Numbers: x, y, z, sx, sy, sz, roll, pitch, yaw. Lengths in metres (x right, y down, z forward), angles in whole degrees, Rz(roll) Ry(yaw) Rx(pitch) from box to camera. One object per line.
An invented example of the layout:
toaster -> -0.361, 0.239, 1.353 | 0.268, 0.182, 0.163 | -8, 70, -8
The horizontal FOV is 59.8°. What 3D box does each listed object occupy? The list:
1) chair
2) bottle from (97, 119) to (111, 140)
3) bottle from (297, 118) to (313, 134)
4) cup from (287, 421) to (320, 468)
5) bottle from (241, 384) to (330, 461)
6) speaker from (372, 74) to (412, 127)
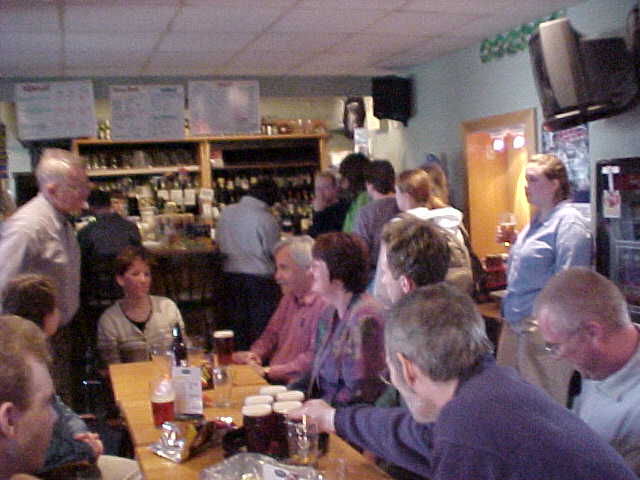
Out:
chair -> -0.884, 0.295, 3.879 | 0.455, 0.319, 0.360 | 2, -7, -29
bottle -> -1.614, -0.820, 4.150 | 0.085, 0.138, 0.288 | -5, 3, -22
bottle -> -0.132, -0.993, 4.885 | 0.124, 0.099, 0.240 | -4, 3, -2
cup -> -0.057, 0.674, 1.906 | 0.100, 0.166, 0.134 | -3, 3, 0
bottle -> -0.115, 0.655, 2.046 | 0.306, 0.281, 0.168 | -1, 0, 22
speaker -> 0.618, -1.180, 4.644 | 0.364, 0.358, 0.370 | 5, 16, 18
